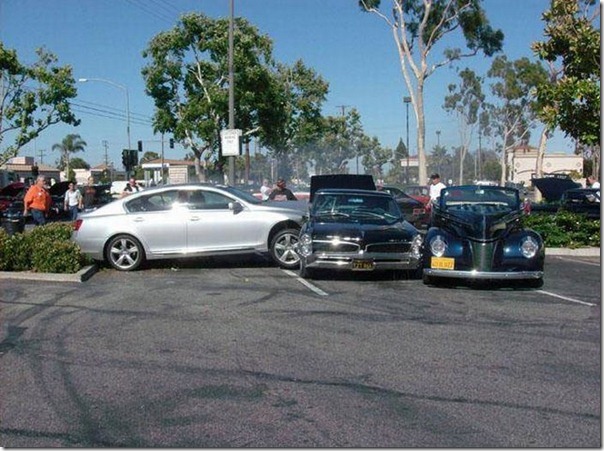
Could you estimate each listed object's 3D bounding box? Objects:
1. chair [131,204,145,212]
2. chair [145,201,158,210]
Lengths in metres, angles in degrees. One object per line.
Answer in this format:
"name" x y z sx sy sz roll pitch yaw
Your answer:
"chair" -3.888 -0.426 12.288 0.269 0.192 0.214 -2 8 -16
"chair" -3.597 -0.485 12.342 0.185 0.187 0.181 1 11 -3
